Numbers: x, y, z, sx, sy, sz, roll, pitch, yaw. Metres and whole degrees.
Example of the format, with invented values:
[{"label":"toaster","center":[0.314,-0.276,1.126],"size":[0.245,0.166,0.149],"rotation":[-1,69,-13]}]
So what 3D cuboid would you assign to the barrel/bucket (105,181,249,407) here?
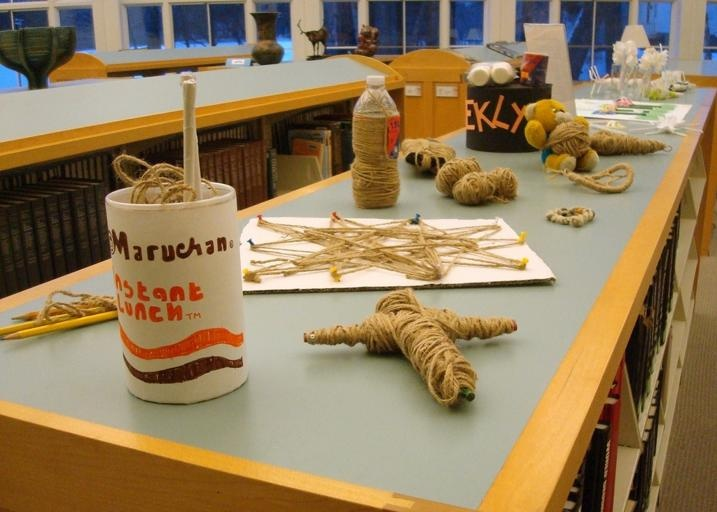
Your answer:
[{"label":"barrel/bucket","center":[-0.200,0.050,0.671],"size":[0.136,0.229,0.082],"rotation":[-7,21,-20]}]
